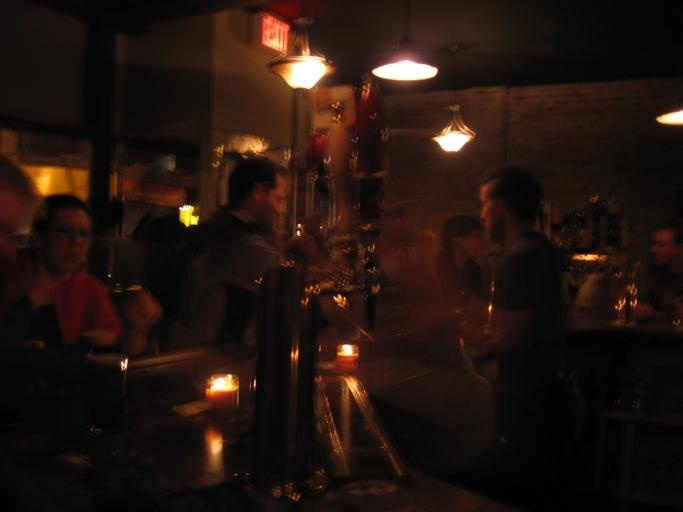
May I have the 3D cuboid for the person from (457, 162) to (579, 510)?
[{"bbox_3d":[0.493,0.201,1.860,0.260,0.913,0.199,2,0,16],"label":"person"}]
